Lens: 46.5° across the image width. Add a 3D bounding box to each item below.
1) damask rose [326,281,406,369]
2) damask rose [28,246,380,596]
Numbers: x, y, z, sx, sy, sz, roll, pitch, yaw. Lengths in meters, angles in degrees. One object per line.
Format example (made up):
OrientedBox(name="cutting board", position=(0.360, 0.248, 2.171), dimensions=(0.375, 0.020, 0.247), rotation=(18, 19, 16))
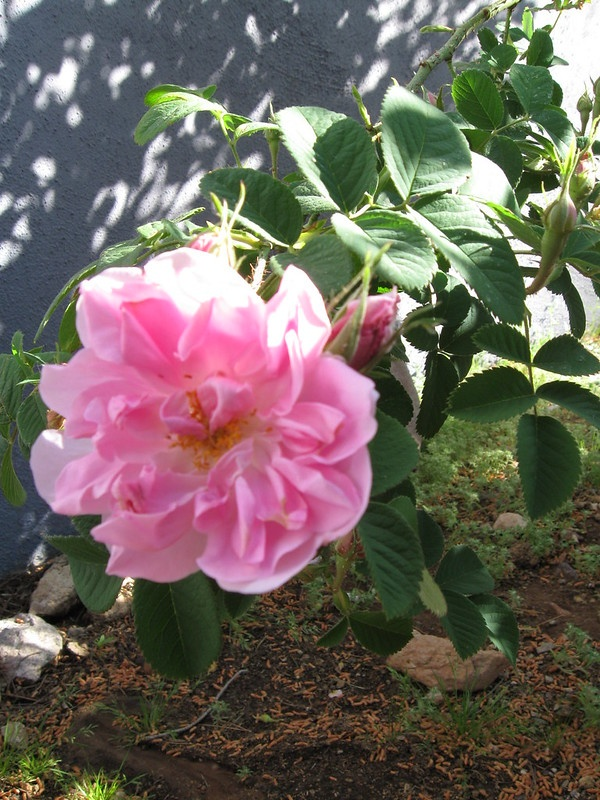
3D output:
OrientedBox(name="damask rose", position=(0.043, -0.044, 0.472), dimensions=(0.052, 0.053, 0.031), rotation=(-6, 14, 7))
OrientedBox(name="damask rose", position=(-0.073, 0.028, 0.510), dimensions=(0.228, 0.096, 0.218), rotation=(-30, 59, -28))
